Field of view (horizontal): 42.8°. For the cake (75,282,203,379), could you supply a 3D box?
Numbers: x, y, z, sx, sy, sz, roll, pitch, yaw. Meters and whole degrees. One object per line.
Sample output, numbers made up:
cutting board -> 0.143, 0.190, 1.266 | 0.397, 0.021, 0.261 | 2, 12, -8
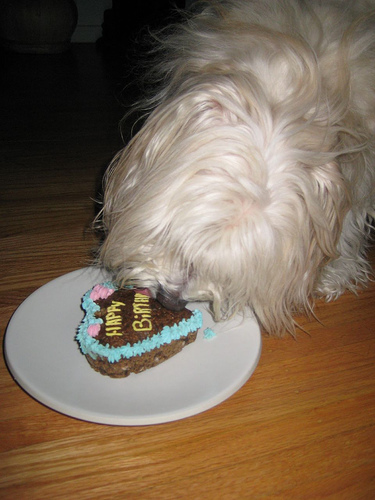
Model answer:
cake -> -0.095, 0.148, 0.881 | 0.207, 0.052, 0.170 | -5, 33, -17

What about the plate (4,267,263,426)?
plate -> -0.115, 0.170, 0.855 | 0.455, 0.047, 0.348 | 13, 33, 16
